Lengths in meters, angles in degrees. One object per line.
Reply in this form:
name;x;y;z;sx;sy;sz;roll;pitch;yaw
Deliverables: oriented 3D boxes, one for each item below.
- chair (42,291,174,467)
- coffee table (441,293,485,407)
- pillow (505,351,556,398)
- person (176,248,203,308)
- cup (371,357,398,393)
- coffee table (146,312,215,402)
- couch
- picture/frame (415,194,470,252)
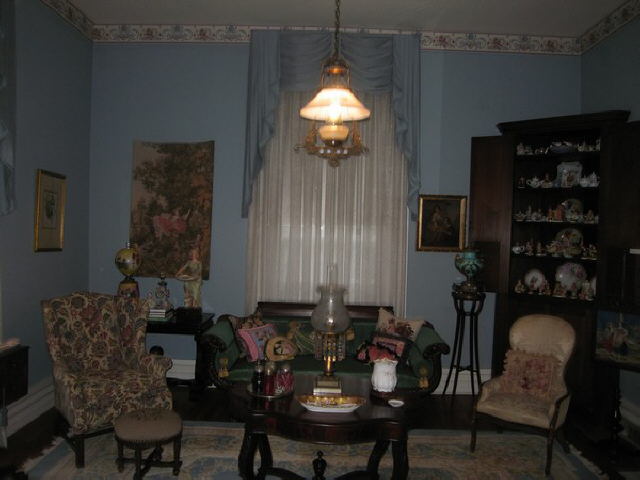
chair;-2.450;1.488;6.533;1.175;1.710;1.314;1;2;28
coffee table;1.967;1.358;7.621;0.441;1.333;0.532;2;-5;29
pillow;2.434;1.570;6.723;0.466;0.520;0.105;1;-5;33
person;-1.780;0.521;7.923;0.343;0.786;0.618;0;1;-14
cup;0.641;1.357;5.786;0.283;0.383;0.287;1;-6;0
coffee table;-1.822;1.560;7.532;0.942;1.175;1.171;1;2;3
couch;0.065;1.454;7.368;2.738;1.104;0.952;2;5;-2
picture/frame;1.695;-0.215;8.062;0.702;0.885;0.061;1;-2;-1
